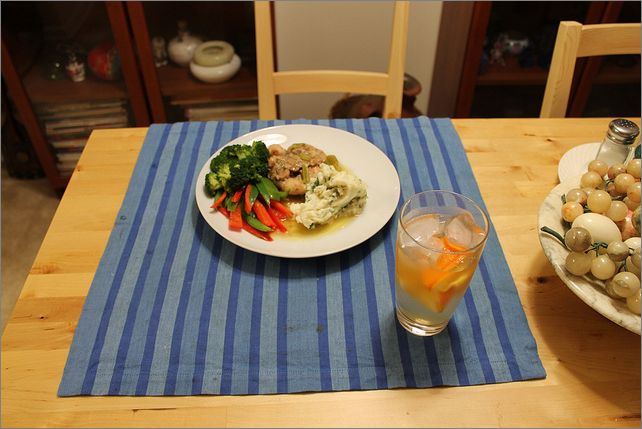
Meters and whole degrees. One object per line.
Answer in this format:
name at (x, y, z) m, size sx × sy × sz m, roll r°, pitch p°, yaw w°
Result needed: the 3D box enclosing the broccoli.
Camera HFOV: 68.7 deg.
broccoli at (-0.274, -0.176, 1.520) m, size 0.143 × 0.089 × 0.191 m, roll -14°, pitch 35°, yaw 18°
